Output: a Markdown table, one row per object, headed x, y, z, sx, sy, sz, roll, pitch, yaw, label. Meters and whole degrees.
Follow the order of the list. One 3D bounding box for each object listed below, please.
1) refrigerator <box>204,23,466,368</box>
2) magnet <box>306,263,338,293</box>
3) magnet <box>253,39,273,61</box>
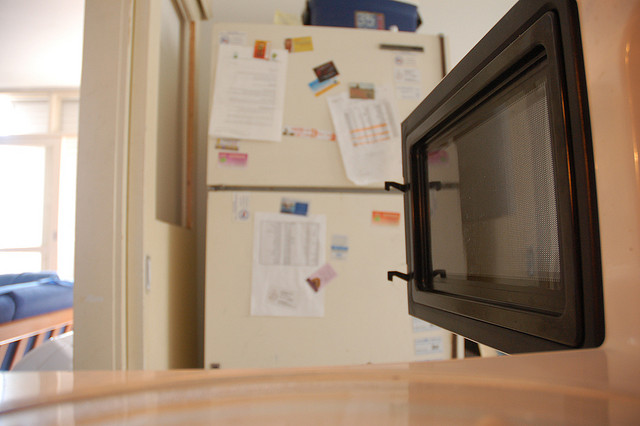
| x | y | z | sx | sy | sz | roll | pitch | yaw | label |
| --- | --- | --- | --- | --- | --- | --- | --- | --- | --- |
| 0.047 | 0.068 | 1.965 | 0.920 | 0.556 | 1.627 | 0 | 60 | -1 | refrigerator |
| 0.008 | 0.225 | 1.708 | 0.025 | 0.096 | 0.069 | -6 | 70 | -35 | magnet |
| -0.200 | -0.570 | 1.761 | 0.071 | 0.022 | 0.069 | 11 | 86 | 4 | magnet |
